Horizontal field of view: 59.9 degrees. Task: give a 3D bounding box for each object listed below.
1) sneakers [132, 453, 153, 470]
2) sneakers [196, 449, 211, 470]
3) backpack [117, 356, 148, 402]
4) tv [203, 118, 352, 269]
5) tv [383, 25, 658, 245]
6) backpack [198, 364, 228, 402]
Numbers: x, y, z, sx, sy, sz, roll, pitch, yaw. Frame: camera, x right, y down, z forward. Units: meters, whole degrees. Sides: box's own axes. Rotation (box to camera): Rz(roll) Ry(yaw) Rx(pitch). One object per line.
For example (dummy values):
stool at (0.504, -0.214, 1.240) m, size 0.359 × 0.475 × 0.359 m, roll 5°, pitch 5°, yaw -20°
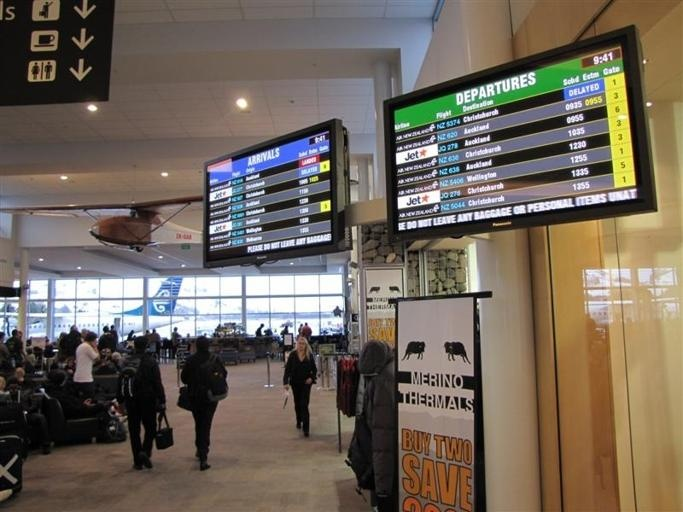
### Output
sneakers at (-2.486, 2.576, 7.402) m, size 0.130 × 0.141 × 0.332 m, roll -4°, pitch -45°, yaw 1°
sneakers at (-1.754, 2.522, 7.427) m, size 0.119 × 0.218 × 0.353 m, roll 0°, pitch 1°, yaw 3°
backpack at (-2.716, 1.564, 7.592) m, size 0.301 × 0.584 × 0.820 m, roll 0°, pitch -3°, yaw -21°
tv at (-0.657, -0.546, 5.536) m, size 1.553 × 1.221 × 0.296 m, roll -4°, pitch -4°, yaw 36°
tv at (1.336, -0.839, 4.271) m, size 1.891 × 1.081 × 0.204 m, roll -4°, pitch -6°, yaw 31°
backpack at (-1.615, 1.566, 7.342) m, size 0.267 × 0.506 × 0.376 m, roll -18°, pitch -19°, yaw 28°
